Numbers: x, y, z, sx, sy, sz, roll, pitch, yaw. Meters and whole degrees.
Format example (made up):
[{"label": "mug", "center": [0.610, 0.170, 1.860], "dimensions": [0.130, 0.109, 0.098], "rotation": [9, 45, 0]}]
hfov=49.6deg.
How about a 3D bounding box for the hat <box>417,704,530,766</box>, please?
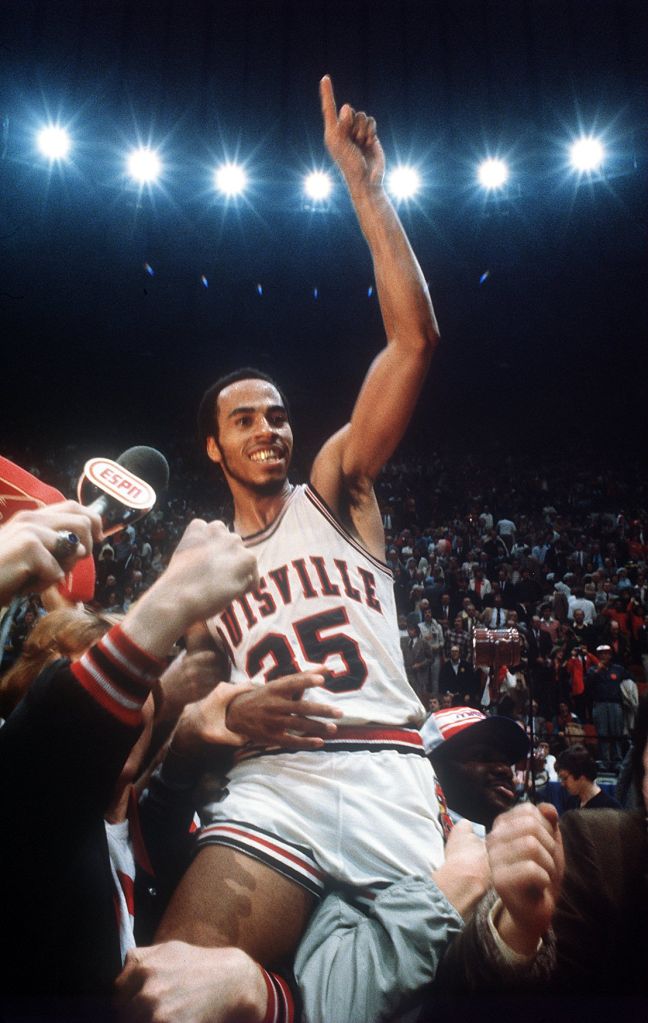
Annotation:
[{"label": "hat", "center": [0.391, 0.574, 1.790], "dimensions": [0.217, 0.131, 0.139], "rotation": [-13, -21, 19]}]
